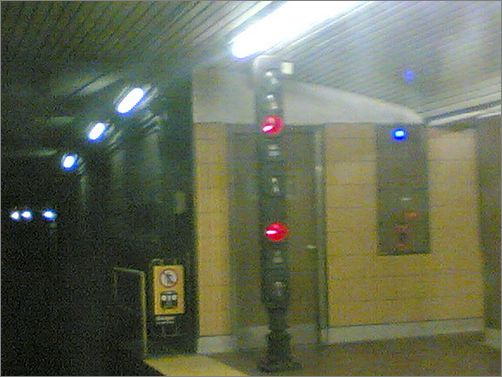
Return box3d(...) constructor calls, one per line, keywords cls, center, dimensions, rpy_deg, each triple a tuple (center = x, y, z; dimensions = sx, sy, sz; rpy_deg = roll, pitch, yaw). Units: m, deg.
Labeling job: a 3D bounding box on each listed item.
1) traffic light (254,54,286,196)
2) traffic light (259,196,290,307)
box3d(cls="traffic light", center=(0.226, -0.767, 5.948), dimensions=(0.355, 1.707, 0.698), rpy_deg=(-2, -5, 4))
box3d(cls="traffic light", center=(0.269, 0.685, 6.018), dimensions=(0.368, 1.383, 0.287), rpy_deg=(-4, 17, -1))
